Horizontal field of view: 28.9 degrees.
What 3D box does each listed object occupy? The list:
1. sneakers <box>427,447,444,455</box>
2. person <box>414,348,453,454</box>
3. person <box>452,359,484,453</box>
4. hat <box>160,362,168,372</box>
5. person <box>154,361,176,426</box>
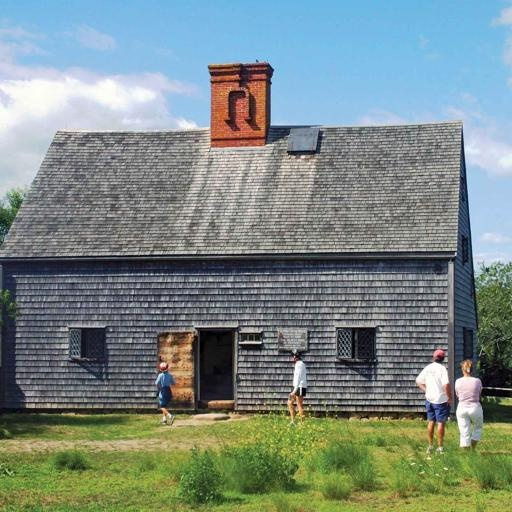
[{"bbox_3d":[3.474,3.822,19.381,0.335,0.181,0.122,-8,-6,33],"label":"sneakers"},{"bbox_3d":[3.590,2.924,19.757,0.587,2.040,0.928,5,-8,-18],"label":"person"},{"bbox_3d":[4.103,2.890,19.216,0.491,1.703,0.998,1,-8,13],"label":"person"},{"bbox_3d":[-2.387,2.844,25.025,0.235,0.114,0.233,22,27,35],"label":"hat"},{"bbox_3d":[-2.381,3.534,25.717,0.525,1.674,2.243,3,-9,-6],"label":"person"}]
